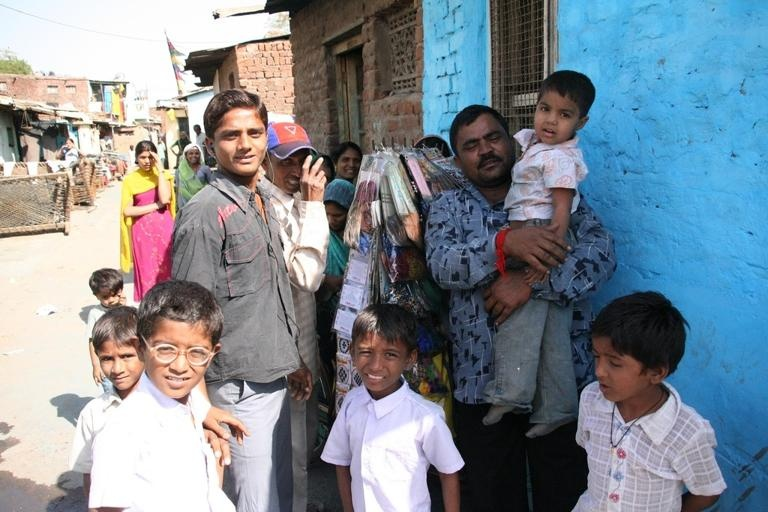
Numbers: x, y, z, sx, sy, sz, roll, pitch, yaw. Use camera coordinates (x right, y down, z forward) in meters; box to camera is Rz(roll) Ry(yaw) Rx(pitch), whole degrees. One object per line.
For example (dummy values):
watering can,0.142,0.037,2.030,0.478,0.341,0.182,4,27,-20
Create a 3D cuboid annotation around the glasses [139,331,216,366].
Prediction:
glasses,-0.956,0.462,2.547,0.278,0.138,0.052,-4,10,-21
